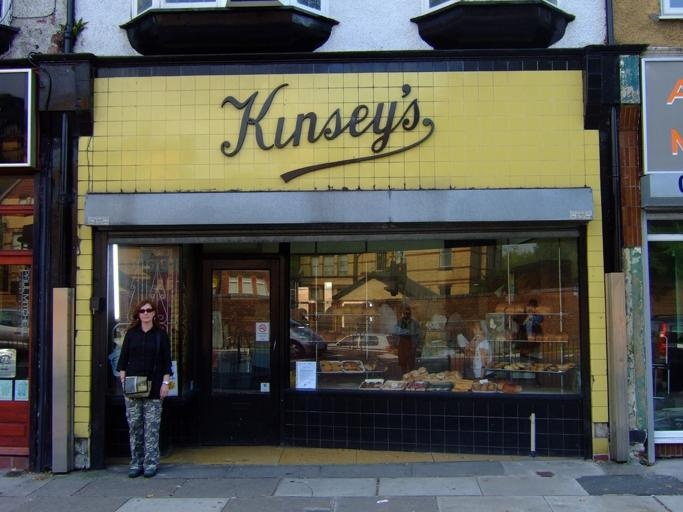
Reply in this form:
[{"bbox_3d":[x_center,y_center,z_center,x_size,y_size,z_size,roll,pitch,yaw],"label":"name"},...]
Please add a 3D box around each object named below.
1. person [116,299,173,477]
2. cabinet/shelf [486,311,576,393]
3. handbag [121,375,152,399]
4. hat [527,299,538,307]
[{"bbox_3d":[-2.821,1.945,12.880,0.727,2.386,0.347,-1,-6,-14],"label":"person"},{"bbox_3d":[2.902,1.475,13.613,1.258,1.018,0.472,1,-7,9],"label":"cabinet/shelf"},{"bbox_3d":[-2.880,1.822,12.769,0.484,0.421,0.284,1,-5,-11],"label":"handbag"},{"bbox_3d":[2.909,0.715,13.769,0.104,0.119,0.128,-14,-51,28],"label":"hat"}]
